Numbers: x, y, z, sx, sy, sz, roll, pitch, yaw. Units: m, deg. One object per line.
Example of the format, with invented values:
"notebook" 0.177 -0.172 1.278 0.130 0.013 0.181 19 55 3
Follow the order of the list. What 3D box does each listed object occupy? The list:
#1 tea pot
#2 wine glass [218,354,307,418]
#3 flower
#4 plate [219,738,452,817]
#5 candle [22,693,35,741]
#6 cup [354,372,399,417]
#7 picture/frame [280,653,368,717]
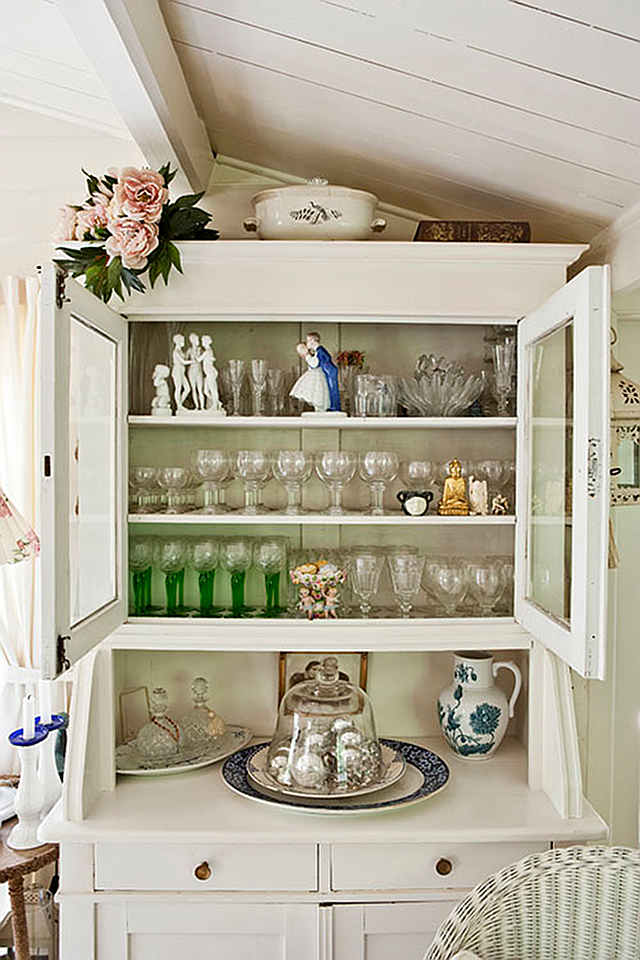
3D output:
"tea pot" 0.349 0.564 1.995 0.246 0.298 0.214 2 -4 -1
"wine glass" -0.155 -0.188 1.860 0.190 0.124 0.139 0 -3 -4
"flower" -0.424 -0.544 1.763 0.365 0.292 0.277 -1 10 -1
"plate" 0.034 0.680 1.815 0.528 0.070 0.398 -1 10 -2
"candle" -0.698 0.567 1.878 0.019 0.072 0.096 -4 11 -15
"cup" 0.125 -0.193 1.764 0.096 0.086 0.091 1 3 0
"picture/frame" 0.006 0.496 1.900 0.146 0.141 0.016 0 -3 1
